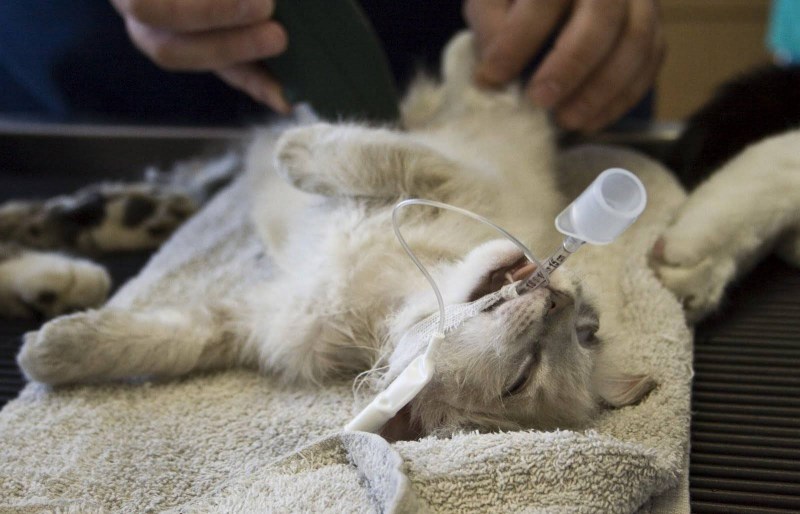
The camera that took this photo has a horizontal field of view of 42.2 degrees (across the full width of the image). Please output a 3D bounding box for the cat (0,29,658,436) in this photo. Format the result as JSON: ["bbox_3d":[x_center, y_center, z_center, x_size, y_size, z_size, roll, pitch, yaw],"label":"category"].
[{"bbox_3d":[-0.185,-0.031,2.570,1.570,0.329,0.886,-2,55,4],"label":"cat"}]
